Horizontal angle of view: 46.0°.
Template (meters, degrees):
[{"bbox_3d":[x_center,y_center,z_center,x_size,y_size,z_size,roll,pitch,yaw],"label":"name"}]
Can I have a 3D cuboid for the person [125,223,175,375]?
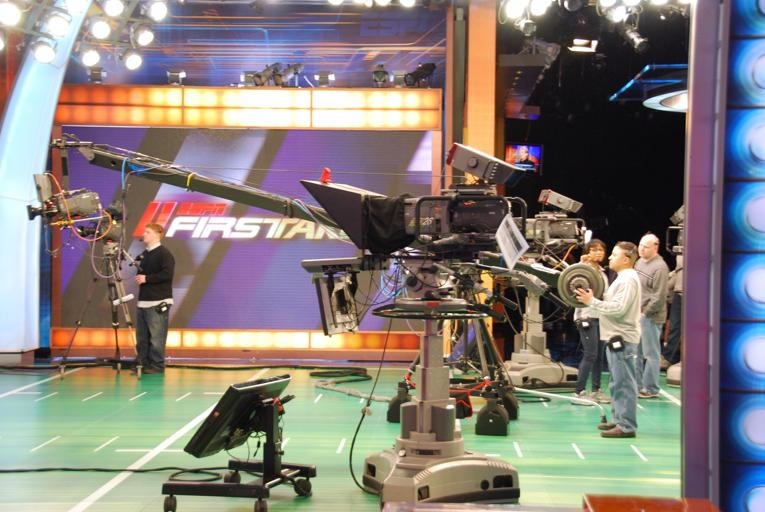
[{"bbox_3d":[-3.536,0.664,13.977,0.608,2.302,0.493,0,4,-13],"label":"person"}]

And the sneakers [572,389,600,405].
[{"bbox_3d":[2.784,1.970,12.482,0.442,0.172,0.159,0,-1,14],"label":"sneakers"}]

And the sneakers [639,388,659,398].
[{"bbox_3d":[3.777,1.960,12.857,0.269,0.099,0.114,-1,1,3],"label":"sneakers"}]

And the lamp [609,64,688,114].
[{"bbox_3d":[4.412,-2.734,14.890,1.029,0.595,2.188,2,3,14],"label":"lamp"}]

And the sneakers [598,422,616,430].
[{"bbox_3d":[2.819,2.144,11.378,0.223,0.076,0.076,4,-9,-3],"label":"sneakers"}]

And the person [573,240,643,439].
[{"bbox_3d":[2.816,1.043,11.115,0.625,2.416,0.584,2,4,18],"label":"person"}]

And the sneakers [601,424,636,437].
[{"bbox_3d":[2.896,2.163,11.288,0.503,0.168,0.158,5,-4,4],"label":"sneakers"}]
